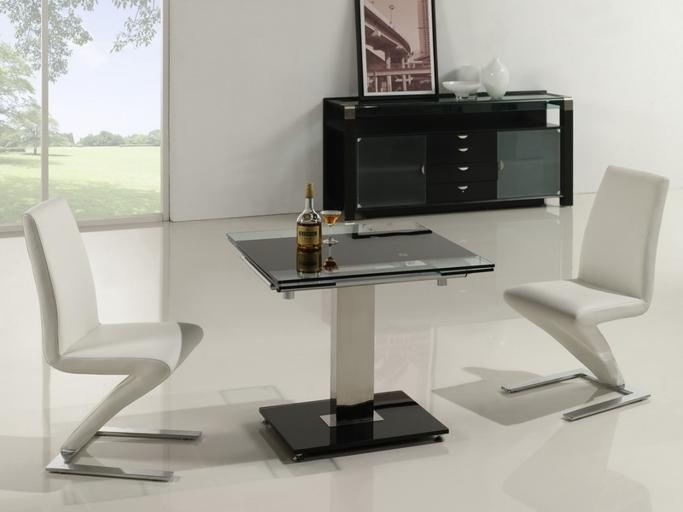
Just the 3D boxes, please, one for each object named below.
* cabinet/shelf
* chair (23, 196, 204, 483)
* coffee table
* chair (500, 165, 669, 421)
[{"bbox_3d":[1.430,-1.288,7.486,3.093,1.423,0.879,-5,13,-12],"label":"cabinet/shelf"},{"bbox_3d":[-1.038,0.339,2.619,0.711,1.121,0.775,0,15,-3],"label":"chair"},{"bbox_3d":[0.019,0.195,2.977,1.154,0.930,1.081,-4,18,-18],"label":"coffee table"},{"bbox_3d":[1.406,0.165,3.191,0.743,1.249,0.603,-6,16,-23],"label":"chair"}]
